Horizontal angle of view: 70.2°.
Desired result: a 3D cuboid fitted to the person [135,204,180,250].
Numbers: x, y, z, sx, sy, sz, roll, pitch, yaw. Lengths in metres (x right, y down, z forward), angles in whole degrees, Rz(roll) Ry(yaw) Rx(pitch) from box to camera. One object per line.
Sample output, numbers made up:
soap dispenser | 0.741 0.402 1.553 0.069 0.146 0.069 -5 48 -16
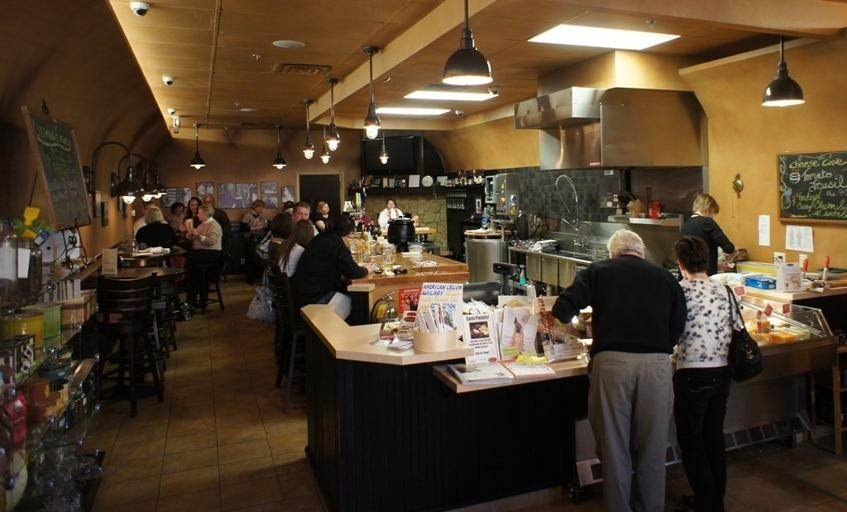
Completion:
person | -4.673 -0.475 10.424 0.615 0.694 0.300 -6 5 -26

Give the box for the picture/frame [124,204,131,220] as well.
picture/frame | -6.020 -0.900 12.179 0.121 0.320 0.336 -1 6 -15

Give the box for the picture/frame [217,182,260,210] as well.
picture/frame | -4.718 -1.493 15.115 0.804 0.487 0.016 -1 2 -22

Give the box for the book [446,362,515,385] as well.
book | 0.496 1.021 5.240 0.521 0.133 0.311 -5 5 -14

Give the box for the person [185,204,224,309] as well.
person | -4.320 0.008 11.783 0.727 2.016 1.069 -6 5 -22

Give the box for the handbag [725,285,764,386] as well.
handbag | 2.856 0.698 5.382 0.253 0.856 0.171 -2 5 27

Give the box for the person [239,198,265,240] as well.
person | -4.182 -0.877 14.702 0.602 0.907 1.253 -5 5 -17

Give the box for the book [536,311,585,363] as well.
book | 1.225 0.750 5.496 0.437 0.410 0.230 -11 -8 -4

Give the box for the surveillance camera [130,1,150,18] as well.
surveillance camera | -3.094 -2.673 6.547 0.148 0.097 0.140 -1 13 -4

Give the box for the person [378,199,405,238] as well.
person | -0.777 -0.868 14.058 0.664 0.804 0.516 -6 19 -17

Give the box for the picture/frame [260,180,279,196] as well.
picture/frame | -3.966 -1.732 15.340 0.427 0.282 0.054 0 2 -16

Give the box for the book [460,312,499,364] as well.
book | 0.483 0.749 5.419 0.502 0.545 0.047 -1 -1 -12

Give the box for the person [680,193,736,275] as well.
person | 3.684 -0.054 7.708 0.605 1.480 0.570 1 24 29

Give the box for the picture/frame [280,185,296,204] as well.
picture/frame | -3.498 -1.581 15.454 0.362 0.463 0.154 -5 4 -13
